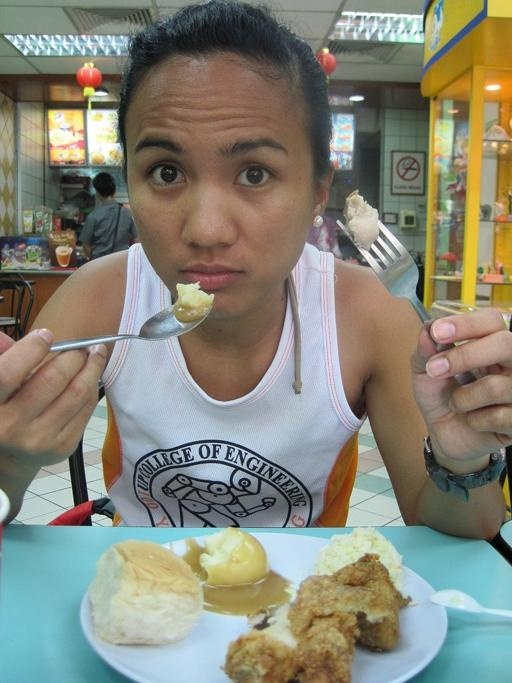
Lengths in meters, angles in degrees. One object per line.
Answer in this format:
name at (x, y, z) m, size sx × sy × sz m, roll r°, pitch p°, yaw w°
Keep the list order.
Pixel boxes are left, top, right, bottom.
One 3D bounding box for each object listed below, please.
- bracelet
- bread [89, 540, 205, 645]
bracelet at (0.350, 0.219, 0.967) m, size 0.130 × 0.088 × 0.069 m, roll 2°, pitch 9°, yaw 17°
bread at (-0.124, 0.288, 0.664) m, size 0.105 × 0.063 × 0.108 m, roll -15°, pitch 18°, yaw -37°
